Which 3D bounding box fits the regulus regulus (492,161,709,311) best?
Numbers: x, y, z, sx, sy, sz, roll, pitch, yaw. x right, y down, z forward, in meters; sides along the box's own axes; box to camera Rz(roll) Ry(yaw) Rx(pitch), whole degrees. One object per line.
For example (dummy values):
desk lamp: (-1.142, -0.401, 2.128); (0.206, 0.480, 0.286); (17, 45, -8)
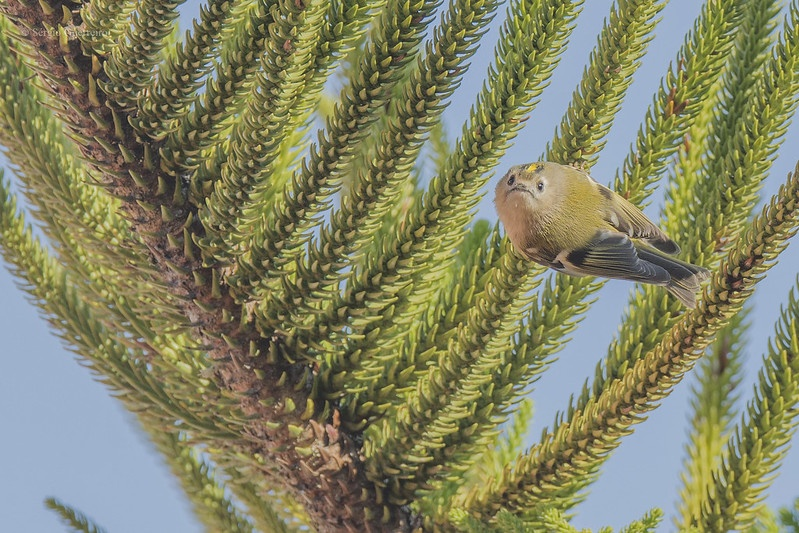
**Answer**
regulus regulus: (0.509, -0.112, 5.030); (0.301, 0.258, 0.641); (5, -4, 38)
